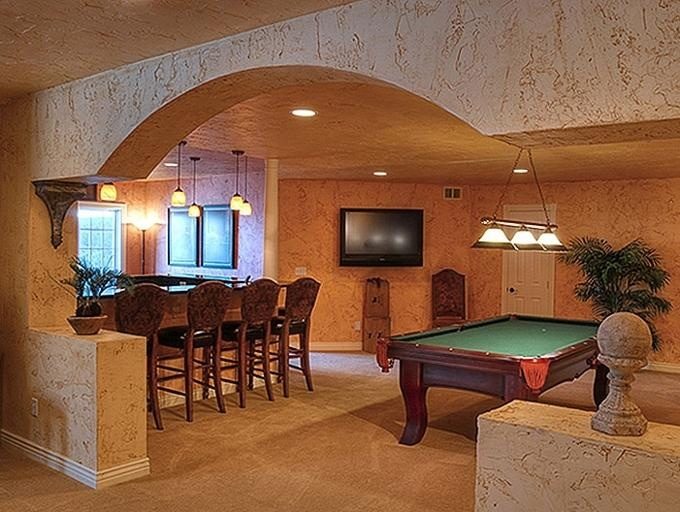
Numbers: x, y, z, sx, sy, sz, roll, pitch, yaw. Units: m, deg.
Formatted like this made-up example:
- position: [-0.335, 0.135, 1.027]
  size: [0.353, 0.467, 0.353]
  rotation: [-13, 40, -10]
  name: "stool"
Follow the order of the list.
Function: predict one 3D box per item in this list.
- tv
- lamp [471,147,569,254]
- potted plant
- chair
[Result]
- position: [0.628, -0.312, 8.670]
  size: [1.193, 0.716, 0.143]
  rotation: [0, -4, -6]
  name: "tv"
- position: [1.574, -0.457, 4.492]
  size: [1.078, 0.759, 0.316]
  rotation: [3, 11, -22]
  name: "lamp"
- position: [-1.868, 0.295, 3.984]
  size: [0.502, 0.549, 0.546]
  rotation: [1, 2, -27]
  name: "potted plant"
- position: [-1.187, 0.977, 5.060]
  size: [0.480, 0.820, 1.570]
  rotation: [1, 0, 35]
  name: "chair"
